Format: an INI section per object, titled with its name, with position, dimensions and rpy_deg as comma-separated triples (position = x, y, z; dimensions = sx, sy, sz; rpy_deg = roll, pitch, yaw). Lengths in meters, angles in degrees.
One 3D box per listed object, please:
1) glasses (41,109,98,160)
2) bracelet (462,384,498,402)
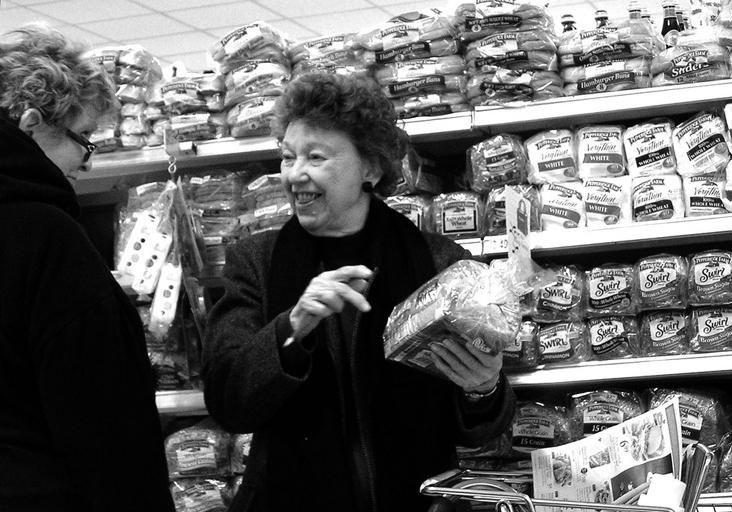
[glasses]
position = -0.872, -0.356, 1.948
dimensions = 0.119, 0.032, 0.115
rpy_deg = 35, -7, 11
[bracelet]
position = 0.362, 0.434, 2.146
dimensions = 0.069, 0.027, 0.064
rpy_deg = -6, 2, -38
